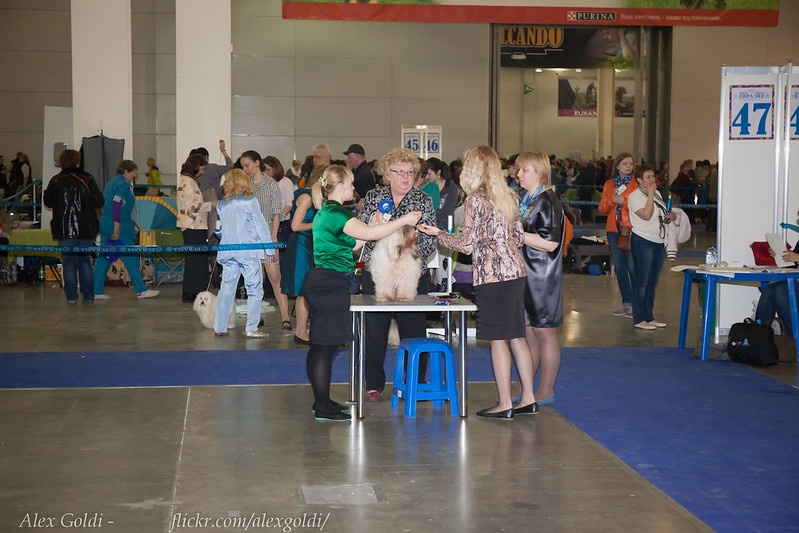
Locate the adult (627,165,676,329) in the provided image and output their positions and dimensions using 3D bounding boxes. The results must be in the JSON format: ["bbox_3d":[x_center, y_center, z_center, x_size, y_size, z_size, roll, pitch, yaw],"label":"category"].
[{"bbox_3d":[3.118,-0.227,10.370,0.476,2.094,0.409,-7,15,-29],"label":"adult"}]

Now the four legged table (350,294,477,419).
[{"bbox_3d":[0.098,0.794,7.450,1.070,1.059,1.088,-1,2,-6],"label":"four legged table"}]

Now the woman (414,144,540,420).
[{"bbox_3d":[0.822,0.159,7.176,0.859,2.385,0.435,2,13,9],"label":"woman"}]

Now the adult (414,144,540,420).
[{"bbox_3d":[0.823,0.158,7.180,0.854,2.385,0.442,2,13,10],"label":"adult"}]

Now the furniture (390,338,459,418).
[{"bbox_3d":[0.235,0.993,7.563,0.647,0.746,0.654,0,-2,-20],"label":"furniture"}]

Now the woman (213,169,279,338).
[{"bbox_3d":[-1.888,-0.153,9.931,0.785,2.062,0.402,-1,13,-3],"label":"woman"}]

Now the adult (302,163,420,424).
[{"bbox_3d":[-0.452,0.237,7.190,0.747,2.208,0.480,-2,13,-7],"label":"adult"}]

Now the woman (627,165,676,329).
[{"bbox_3d":[3.121,-0.228,10.378,0.501,2.094,0.385,-5,14,-23],"label":"woman"}]

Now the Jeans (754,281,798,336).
[{"bbox_3d":[4.107,0.472,8.919,0.242,0.631,0.486,-7,10,-30],"label":"Jeans"}]

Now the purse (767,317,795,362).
[{"bbox_3d":[4.088,0.798,8.790,0.158,0.384,0.416,-7,10,-15],"label":"purse"}]

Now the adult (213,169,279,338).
[{"bbox_3d":[-1.888,-0.155,9.941,0.785,2.062,0.422,-1,13,-3],"label":"adult"}]

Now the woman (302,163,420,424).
[{"bbox_3d":[-0.445,0.237,7.191,0.759,2.208,0.482,-2,13,-7],"label":"woman"}]

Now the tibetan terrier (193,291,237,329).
[{"bbox_3d":[-2.363,0.572,10.628,0.593,0.513,0.362,-1,4,-41],"label":"tibetan terrier"}]
